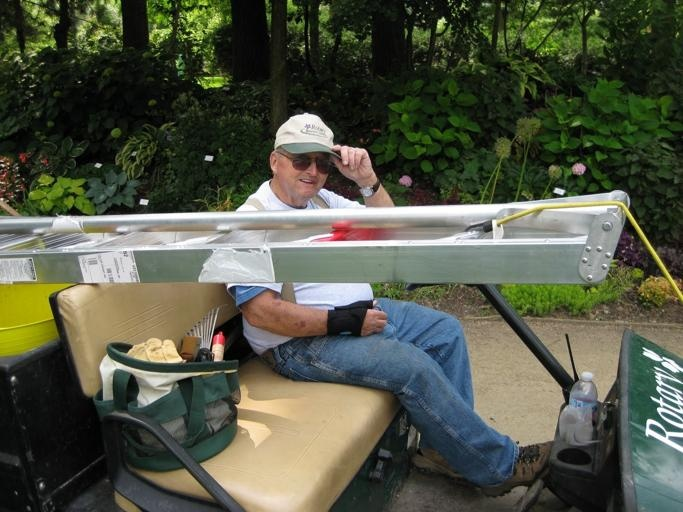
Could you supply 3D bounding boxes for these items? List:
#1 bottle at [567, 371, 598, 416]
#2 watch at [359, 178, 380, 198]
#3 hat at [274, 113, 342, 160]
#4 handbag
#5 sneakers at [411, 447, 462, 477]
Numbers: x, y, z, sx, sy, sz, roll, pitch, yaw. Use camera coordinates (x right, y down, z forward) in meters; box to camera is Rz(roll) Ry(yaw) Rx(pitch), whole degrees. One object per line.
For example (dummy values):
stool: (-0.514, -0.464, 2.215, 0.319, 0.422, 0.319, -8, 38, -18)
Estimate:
bottle: (1.095, 0.630, 2.502, 0.108, 0.195, 0.109, -1, 18, 0)
watch: (0.159, -0.395, 3.041, 0.109, 0.072, 0.112, -26, -19, -35)
hat: (-0.159, -0.589, 2.727, 0.295, 0.208, 0.384, 6, 10, -16)
handbag: (-0.628, 0.558, 2.265, 0.425, 0.419, 0.559, 5, 10, 31)
sneakers: (0.505, 1.063, 2.885, 0.209, 0.080, 0.158, 25, 31, 38)
